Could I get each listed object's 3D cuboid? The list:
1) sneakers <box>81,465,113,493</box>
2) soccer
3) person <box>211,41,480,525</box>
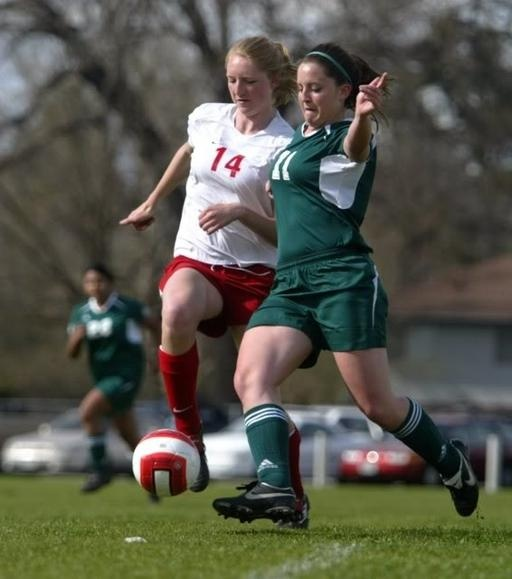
[{"bbox_3d":[-0.988,1.172,6.269,0.195,0.144,0.165,-4,2,-5],"label":"sneakers"},{"bbox_3d":[-0.366,0.717,4.149,0.314,0.253,0.337,4,-13,-4],"label":"soccer"},{"bbox_3d":[0.292,-0.025,3.842,1.076,1.376,0.545,-4,2,-11],"label":"person"}]
